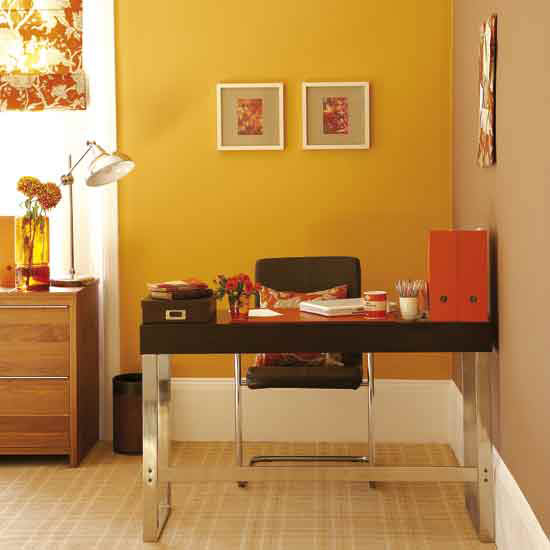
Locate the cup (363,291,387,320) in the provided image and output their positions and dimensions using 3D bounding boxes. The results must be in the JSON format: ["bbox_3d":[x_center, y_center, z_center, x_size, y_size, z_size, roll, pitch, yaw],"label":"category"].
[{"bbox_3d":[0.387,0.113,2.436,0.085,0.098,0.084,1,0,0],"label":"cup"}]

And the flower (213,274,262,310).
[{"bbox_3d":[-0.147,0.050,2.456,0.145,0.172,0.155,-3,-3,28],"label":"flower"}]

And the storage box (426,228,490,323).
[{"bbox_3d":[0.692,0.016,2.455,0.229,0.369,0.466,0,0,8],"label":"storage box"}]

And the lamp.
[{"bbox_3d":[-1.003,-0.343,3.379,0.421,0.797,0.740,-2,5,-21],"label":"lamp"}]

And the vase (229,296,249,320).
[{"bbox_3d":[-0.136,0.128,2.395,0.073,0.097,0.082,1,-5,-1],"label":"vase"}]

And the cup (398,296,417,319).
[{"bbox_3d":[0.502,0.124,2.393,0.068,0.089,0.074,0,-4,0],"label":"cup"}]

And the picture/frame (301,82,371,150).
[{"bbox_3d":[0.352,-0.898,3.483,0.313,0.350,0.025,0,4,4],"label":"picture/frame"}]

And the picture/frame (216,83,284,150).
[{"bbox_3d":[-0.127,-0.901,3.505,0.312,0.337,0.028,0,3,-1],"label":"picture/frame"}]
